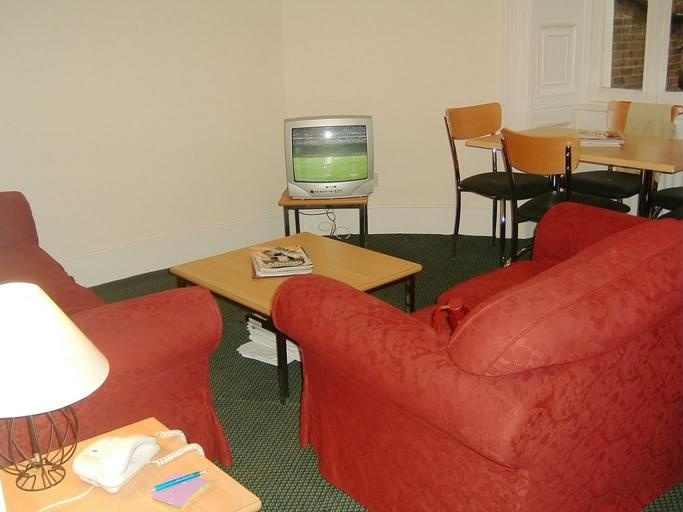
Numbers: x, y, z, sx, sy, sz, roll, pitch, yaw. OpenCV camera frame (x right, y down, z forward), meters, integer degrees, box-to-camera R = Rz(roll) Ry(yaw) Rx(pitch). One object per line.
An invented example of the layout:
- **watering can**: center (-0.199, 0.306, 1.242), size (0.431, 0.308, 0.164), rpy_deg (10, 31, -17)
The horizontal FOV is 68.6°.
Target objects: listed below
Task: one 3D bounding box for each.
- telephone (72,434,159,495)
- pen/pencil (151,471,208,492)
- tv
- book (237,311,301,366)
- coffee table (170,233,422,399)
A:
- **telephone**: center (-0.566, 0.498, 1.258), size (0.165, 0.082, 0.209), rpy_deg (-2, 5, 5)
- **pen/pencil**: center (-0.389, 0.542, 1.204), size (0.102, 0.012, 0.011), rpy_deg (-11, 25, -37)
- **tv**: center (-0.054, -0.685, 4.129), size (0.853, 0.826, 0.519), rpy_deg (-2, 14, 2)
- **book**: center (-0.393, 0.478, 2.841), size (0.298, 0.114, 0.306), rpy_deg (18, 14, 38)
- **coffee table**: center (-0.199, 0.020, 2.779), size (1.007, 0.553, 0.954), rpy_deg (-17, 26, -40)
